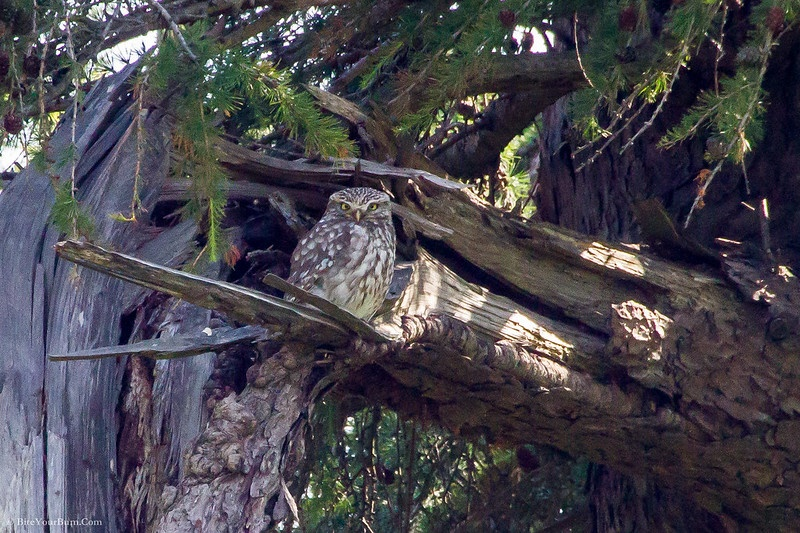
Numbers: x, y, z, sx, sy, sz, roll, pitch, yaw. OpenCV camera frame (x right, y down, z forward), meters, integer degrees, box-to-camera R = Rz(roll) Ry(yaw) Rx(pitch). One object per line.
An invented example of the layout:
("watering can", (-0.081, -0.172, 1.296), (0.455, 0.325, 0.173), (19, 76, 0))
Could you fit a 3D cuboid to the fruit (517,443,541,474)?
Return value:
("fruit", (1.059, 1.664, 15.397), (0.154, 0.226, 0.399), (-16, -11, 23))
